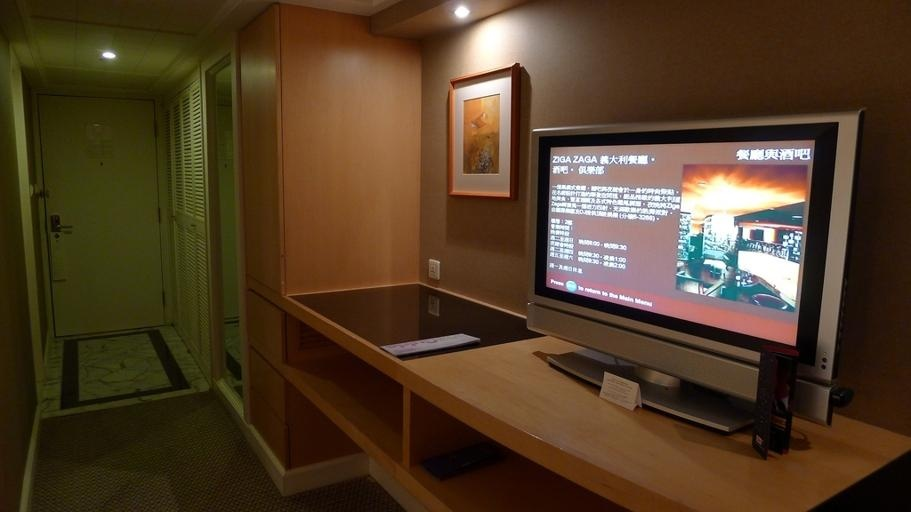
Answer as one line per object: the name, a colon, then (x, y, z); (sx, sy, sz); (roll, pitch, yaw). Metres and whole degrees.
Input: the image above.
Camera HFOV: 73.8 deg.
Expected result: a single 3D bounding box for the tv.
tv: (0.983, 0.071, 2.374); (0.358, 1.011, 1.327); (1, 6, -44)
